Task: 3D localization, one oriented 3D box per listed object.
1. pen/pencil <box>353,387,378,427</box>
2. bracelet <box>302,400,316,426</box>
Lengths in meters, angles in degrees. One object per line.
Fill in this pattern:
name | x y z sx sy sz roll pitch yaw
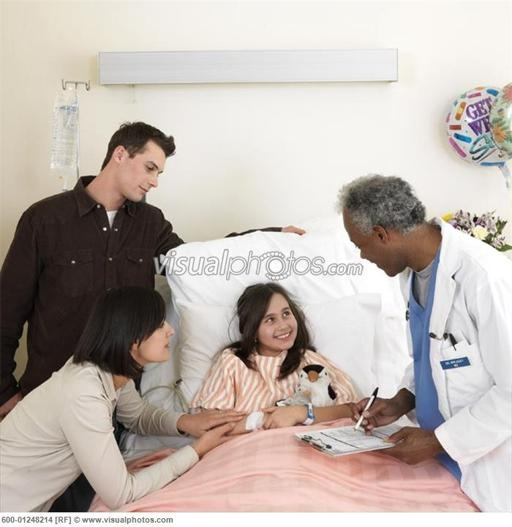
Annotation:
pen/pencil | 0.327 0.438 1.455 0.018 0.164 0.017 41 -29 -18
bracelet | 0.162 0.466 1.478 0.033 0.054 0.056 10 -38 -17
